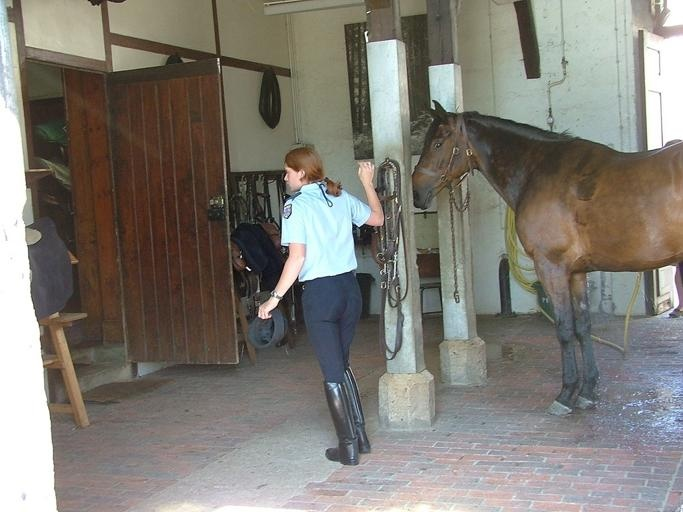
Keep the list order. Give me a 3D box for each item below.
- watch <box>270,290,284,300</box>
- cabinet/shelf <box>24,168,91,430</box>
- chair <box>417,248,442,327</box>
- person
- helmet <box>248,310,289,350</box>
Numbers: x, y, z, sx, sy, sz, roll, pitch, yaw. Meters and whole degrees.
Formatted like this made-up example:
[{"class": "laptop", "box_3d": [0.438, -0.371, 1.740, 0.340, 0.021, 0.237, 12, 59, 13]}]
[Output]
[{"class": "watch", "box_3d": [-0.385, 0.229, 3.533, 0.054, 0.032, 0.070, 19, -14, 33]}, {"class": "cabinet/shelf", "box_3d": [-2.399, 0.327, 5.035, 0.388, 1.702, 1.120, -7, 4, -26]}, {"class": "chair", "box_3d": [1.336, 0.415, 8.866, 0.361, 0.950, 0.376, -5, -6, 15]}, {"class": "person", "box_3d": [-0.102, 0.335, 3.744, 0.883, 2.055, 0.307, -7, 5, -34]}, {"class": "helmet", "box_3d": [-0.844, 0.821, 6.775, 0.411, 0.487, 0.424, -7, 8, -40]}]
